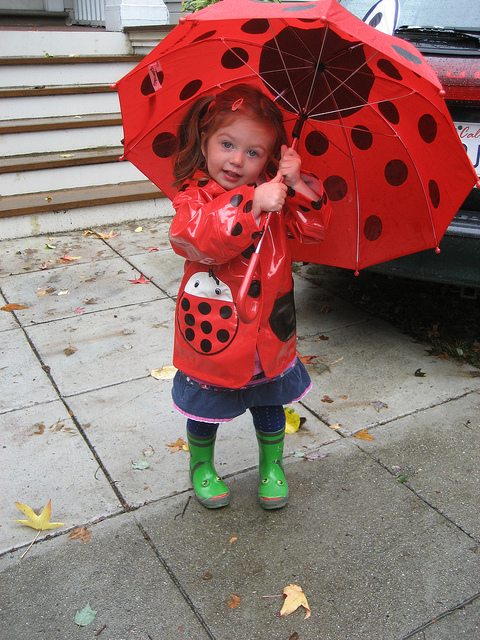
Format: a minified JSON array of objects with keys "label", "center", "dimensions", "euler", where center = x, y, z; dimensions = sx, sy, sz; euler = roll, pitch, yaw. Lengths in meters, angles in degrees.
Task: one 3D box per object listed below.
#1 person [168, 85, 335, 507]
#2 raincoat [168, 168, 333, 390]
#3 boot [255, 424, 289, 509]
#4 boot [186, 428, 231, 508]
[{"label":"person","center":[-0.020,0.017,1.864],"dimensions":[0.496,1.498,0.625],"euler":[6,21,16]},{"label":"raincoat","center":[-0.022,-0.139,1.838],"dimensions":[0.417,0.691,0.635],"euler":[10,22,26]},{"label":"boot","center":[0.123,0.556,2.173],"dimensions":[0.142,0.277,0.309],"euler":[-1,16,1]},{"label":"boot","center":[-0.118,0.564,2.130],"dimensions":[0.160,0.287,0.141],"euler":[-1,20,-2]}]
